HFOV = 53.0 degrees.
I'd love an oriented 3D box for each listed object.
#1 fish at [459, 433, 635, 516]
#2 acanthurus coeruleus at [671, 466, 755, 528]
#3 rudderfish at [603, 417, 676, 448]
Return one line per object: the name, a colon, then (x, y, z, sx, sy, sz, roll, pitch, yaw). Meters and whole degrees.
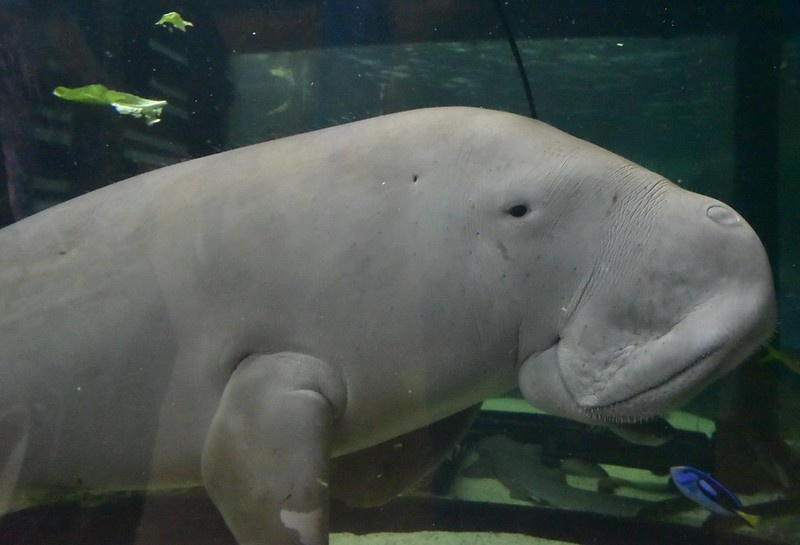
fish: (0.859, 1.272, 4.907, 0.588, 0.203, 0.437, 18, -8, 18)
acanthurus coeruleus: (1.768, 1.294, 4.587, 0.448, 0.209, 0.105, 32, 20, 35)
rudderfish: (1.374, 0.936, 4.689, 0.376, 0.105, 0.342, 2, -9, -34)
